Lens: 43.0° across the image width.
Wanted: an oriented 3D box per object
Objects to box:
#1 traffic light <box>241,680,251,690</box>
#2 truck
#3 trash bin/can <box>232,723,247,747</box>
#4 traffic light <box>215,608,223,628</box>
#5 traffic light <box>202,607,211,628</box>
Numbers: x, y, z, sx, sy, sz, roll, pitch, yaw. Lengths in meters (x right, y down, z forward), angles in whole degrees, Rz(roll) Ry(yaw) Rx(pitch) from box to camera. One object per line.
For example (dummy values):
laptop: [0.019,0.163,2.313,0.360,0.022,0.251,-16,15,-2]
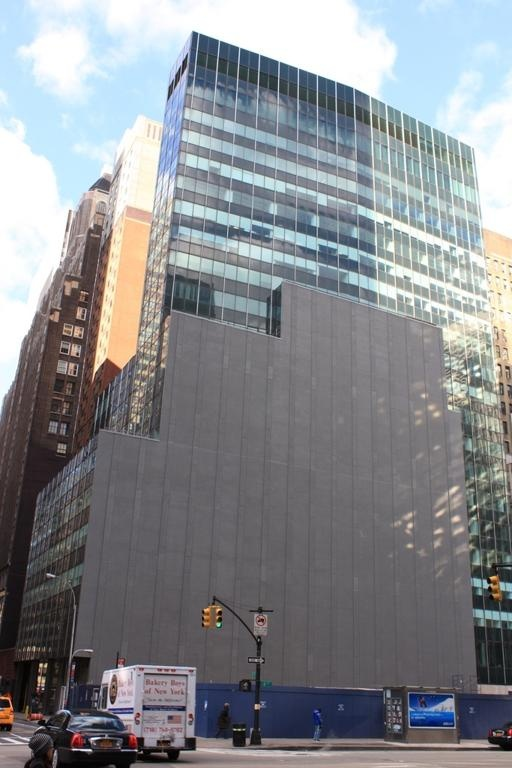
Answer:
traffic light: [-0.574,14.824,32.034,0.458,0.439,0.958,6,-26,-6]
truck: [-3.405,10.600,20.921,2.428,2.604,4.718,10,-36,-16]
trash bin/can: [-0.735,14.734,27.251,0.474,0.823,0.580,4,-25,-3]
traffic light: [-1.802,11.106,31.126,0.295,0.920,1.374,6,-26,-7]
traffic light: [-2.404,11.228,31.379,0.388,0.893,1.021,5,-26,-5]
